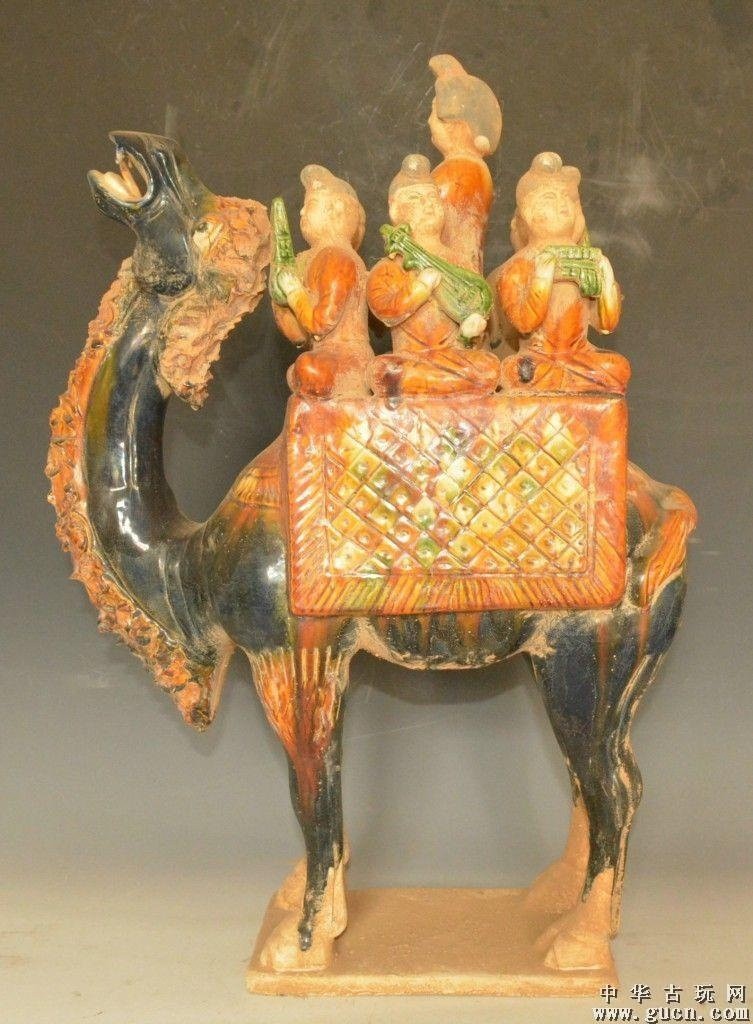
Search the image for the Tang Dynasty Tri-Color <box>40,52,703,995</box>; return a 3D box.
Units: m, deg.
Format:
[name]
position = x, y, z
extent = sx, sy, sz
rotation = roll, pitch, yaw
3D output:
[Tang Dynasty Tri-Color]
position = 0.005, 0.070, 2.779
extent = 0.996, 1.373, 0.593
rotation = -5, 23, 9
